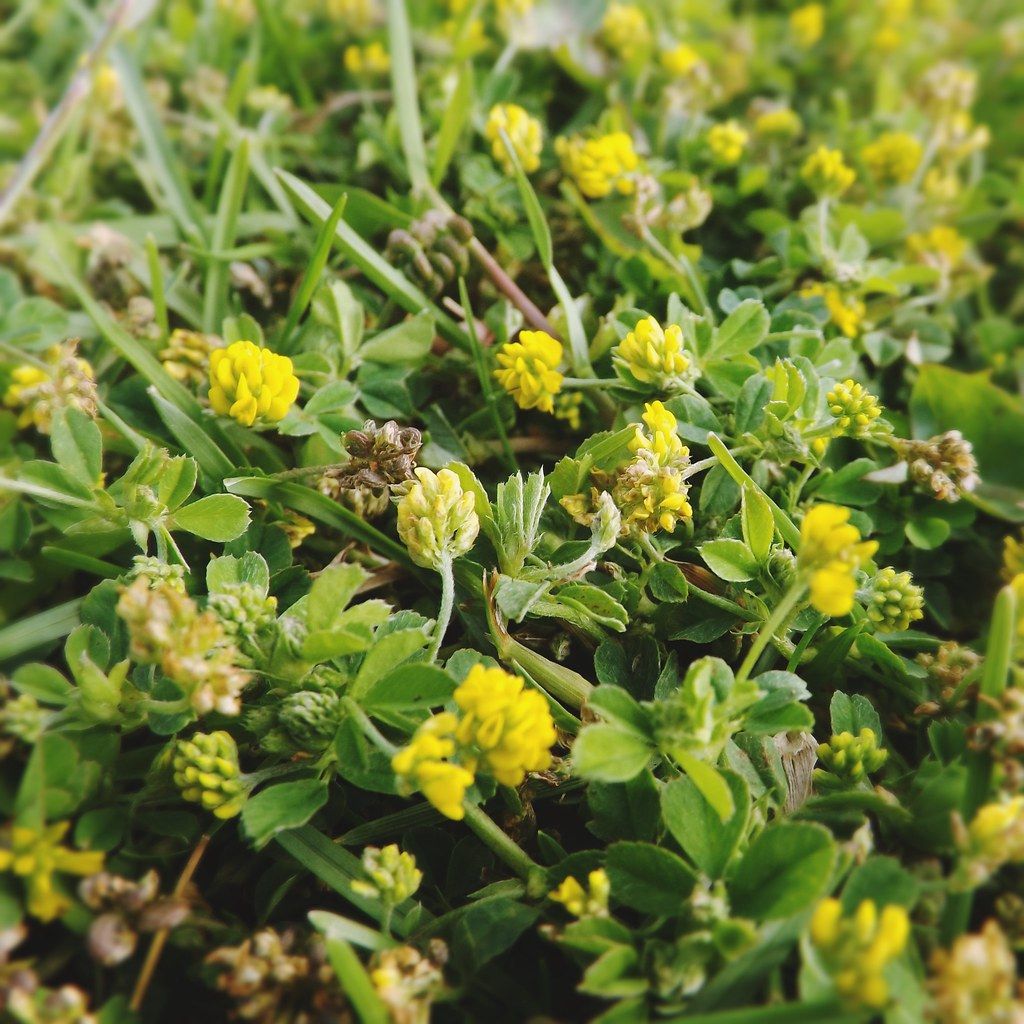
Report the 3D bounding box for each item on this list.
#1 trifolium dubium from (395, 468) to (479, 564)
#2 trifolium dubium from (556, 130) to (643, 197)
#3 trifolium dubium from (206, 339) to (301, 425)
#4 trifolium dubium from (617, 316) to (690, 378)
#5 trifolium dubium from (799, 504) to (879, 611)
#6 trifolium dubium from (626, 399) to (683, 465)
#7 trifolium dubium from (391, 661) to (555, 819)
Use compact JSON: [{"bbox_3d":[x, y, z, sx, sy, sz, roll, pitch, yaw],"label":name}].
[{"bbox_3d":[-0.052,0.007,0.873,0.070,0.060,0.069,8,61,-17],"label":"trifolium dubium"},{"bbox_3d":[0.102,-0.346,1.105,0.084,0.064,0.040,32,73,20],"label":"trifolium dubium"},{"bbox_3d":[-0.211,-0.102,0.891,0.070,0.057,0.041,23,38,-4],"label":"trifolium dubium"},{"bbox_3d":[0.128,-0.138,0.939,0.040,0.036,0.038,-10,75,0],"label":"trifolium dubium"},{"bbox_3d":[0.214,0.023,0.776,0.067,0.062,0.031,16,85,27],"label":"trifolium dubium"},{"bbox_3d":[0.118,-0.065,0.907,0.039,0.047,0.039,-27,36,3],"label":"trifolium dubium"},{"bbox_3d":[-0.024,0.152,0.795,0.060,0.104,0.123,31,23,37],"label":"trifolium dubium"}]
